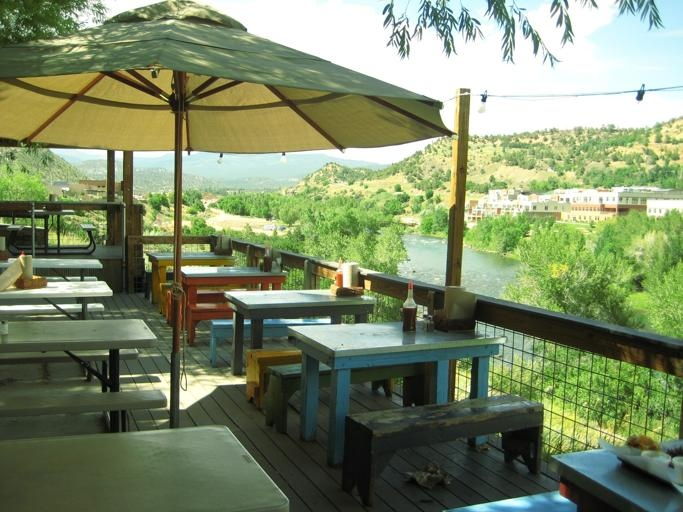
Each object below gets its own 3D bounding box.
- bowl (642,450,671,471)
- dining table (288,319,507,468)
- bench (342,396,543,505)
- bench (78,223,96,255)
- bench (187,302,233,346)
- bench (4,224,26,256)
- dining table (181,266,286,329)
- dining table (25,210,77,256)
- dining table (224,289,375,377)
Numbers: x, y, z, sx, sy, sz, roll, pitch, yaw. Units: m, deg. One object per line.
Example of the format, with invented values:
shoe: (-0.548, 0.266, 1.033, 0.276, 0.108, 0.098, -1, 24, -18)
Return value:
bowl: (1.147, 0.740, 2.108, 0.071, 0.028, 0.068, -1, 2, 0)
dining table: (0.264, 0.567, 3.892, 1.502, 0.872, 0.825, -1, 2, -25)
bench: (0.620, 1.118, 3.418, 1.188, 0.566, 0.358, 3, 6, -25)
bench: (-4.179, -0.277, 9.676, 0.187, 0.428, 0.500, 2, 6, -30)
bench: (-1.413, 0.691, 6.324, 0.486, 0.334, 0.471, 0, 7, -24)
bench: (-4.843, -0.246, 8.720, 0.186, 0.299, 0.541, -1, 11, -20)
dining table: (-1.226, 0.378, 6.606, 0.960, 0.547, 0.879, -1, 6, -20)
dining table: (-4.676, -0.444, 9.304, 0.937, 0.836, 0.908, 1, 4, -26)
dining table: (-0.385, 0.432, 4.952, 1.395, 0.813, 0.754, 0, 5, -24)
